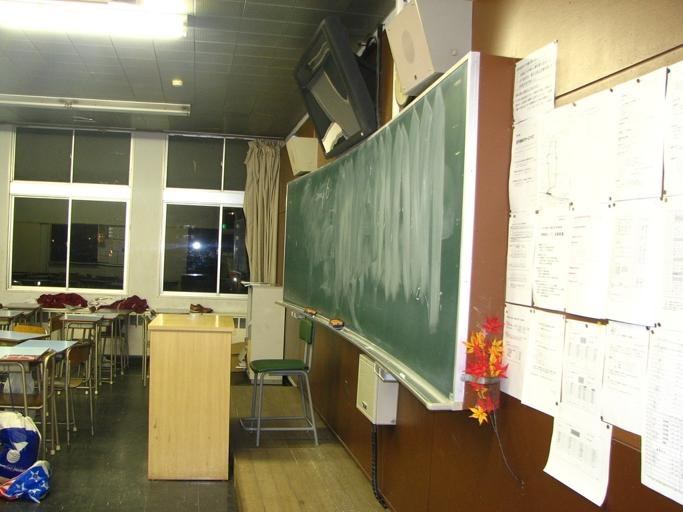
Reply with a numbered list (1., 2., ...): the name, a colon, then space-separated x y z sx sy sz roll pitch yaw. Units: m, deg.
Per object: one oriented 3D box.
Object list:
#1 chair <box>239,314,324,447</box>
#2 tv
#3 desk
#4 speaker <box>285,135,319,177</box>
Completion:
1. chair: -0.575 1.105 5.211 0.880 1.692 0.850 2 -3 -11
2. tv: -0.031 -1.359 4.162 0.480 0.822 0.941 -16 -10 -15
3. desk: -1.144 1.121 4.127 0.603 1.103 1.105 2 -3 -5
4. speaker: -0.464 -1.137 6.250 0.355 0.516 0.473 -3 -2 -9
